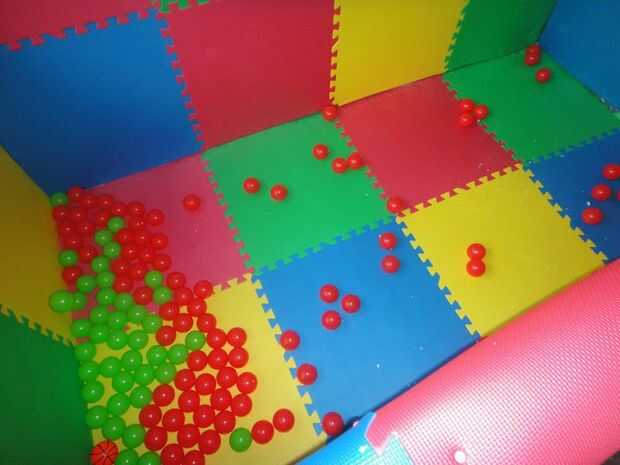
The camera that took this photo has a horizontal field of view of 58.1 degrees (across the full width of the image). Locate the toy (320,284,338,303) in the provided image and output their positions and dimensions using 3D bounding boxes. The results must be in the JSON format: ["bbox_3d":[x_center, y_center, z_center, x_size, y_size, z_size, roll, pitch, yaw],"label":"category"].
[{"bbox_3d":[0.124,0.404,3.709,0.102,0.121,0.065,-10,-13,8],"label":"toy"}]

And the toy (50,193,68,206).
[{"bbox_3d":[-1.730,-0.226,3.828,0.091,0.101,0.098,-14,12,-6],"label":"toy"}]

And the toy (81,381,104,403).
[{"bbox_3d":[-1.358,0.980,3.472,0.124,0.127,0.065,-27,-15,-3],"label":"toy"}]

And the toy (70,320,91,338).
[{"bbox_3d":[-1.458,0.606,3.549,0.106,0.118,0.129,-15,-9,-34],"label":"toy"}]

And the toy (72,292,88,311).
[{"bbox_3d":[-1.510,0.443,3.623,0.071,0.101,0.124,-32,-16,20],"label":"toy"}]

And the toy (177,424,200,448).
[{"bbox_3d":[-0.745,1.237,3.400,0.136,0.137,0.099,-22,-16,-20],"label":"toy"}]

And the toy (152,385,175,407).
[{"bbox_3d":[-0.908,1.002,3.443,0.112,0.132,0.068,6,-32,-7],"label":"toy"}]

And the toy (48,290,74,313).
[{"bbox_3d":[-1.576,0.432,3.529,0.150,0.125,0.096,-20,-16,-28],"label":"toy"}]

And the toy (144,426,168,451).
[{"bbox_3d":[-0.932,1.234,3.392,0.114,0.158,0.121,10,-7,-16],"label":"toy"}]

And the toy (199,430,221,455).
[{"bbox_3d":[-0.613,1.241,3.389,0.118,0.159,0.124,-1,4,-19],"label":"toy"}]

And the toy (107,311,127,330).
[{"bbox_3d":[-1.240,0.560,3.585,0.099,0.111,0.128,-11,-41,-11],"label":"toy"}]

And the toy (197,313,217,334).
[{"bbox_3d":[-0.674,0.583,3.576,0.102,0.122,0.061,-1,-8,1],"label":"toy"}]

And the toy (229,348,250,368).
[{"bbox_3d":[-0.455,0.788,3.559,0.127,0.127,0.084,-13,-20,-43],"label":"toy"}]

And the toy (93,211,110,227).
[{"bbox_3d":[-1.421,-0.097,3.790,0.089,0.103,0.090,-2,9,33],"label":"toy"}]

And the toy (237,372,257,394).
[{"bbox_3d":[-0.401,0.943,3.514,0.125,0.130,0.086,-25,-15,-11],"label":"toy"}]

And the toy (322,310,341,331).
[{"bbox_3d":[0.137,0.569,3.701,0.111,0.117,0.109,-36,-6,2],"label":"toy"}]

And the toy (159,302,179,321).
[{"bbox_3d":[-0.909,0.491,3.612,0.099,0.118,0.125,1,1,-18],"label":"toy"}]

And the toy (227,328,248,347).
[{"bbox_3d":[-0.473,0.669,3.573,0.104,0.125,0.109,8,-7,-34],"label":"toy"}]

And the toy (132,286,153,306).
[{"bbox_3d":[-1.106,0.412,3.674,0.097,0.112,0.096,-37,-18,32],"label":"toy"}]

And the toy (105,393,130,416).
[{"bbox_3d":[-1.190,1.058,3.447,0.137,0.121,0.076,-31,-16,10],"label":"toy"}]

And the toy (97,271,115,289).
[{"bbox_3d":[-1.353,0.309,3.727,0.091,0.125,0.100,7,4,23],"label":"toy"}]

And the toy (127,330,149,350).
[{"bbox_3d":[-1.099,0.643,3.542,0.106,0.122,0.133,1,17,-20],"label":"toy"}]

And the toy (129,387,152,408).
[{"bbox_3d":[-1.060,0.994,3.484,0.117,0.160,0.120,-4,2,-28],"label":"toy"}]

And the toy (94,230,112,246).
[{"bbox_3d":[-1.398,0.033,3.753,0.090,0.108,0.075,1,-10,-12],"label":"toy"}]

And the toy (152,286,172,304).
[{"bbox_3d":[-0.966,0.418,3.672,0.125,0.100,0.104,-59,3,-11],"label":"toy"}]

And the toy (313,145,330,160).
[{"bbox_3d":[0.081,-0.605,4.146,0.130,0.084,0.100,-28,-15,-6],"label":"toy"}]

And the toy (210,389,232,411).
[{"bbox_3d":[-0.554,1.027,3.445,0.124,0.128,0.059,-23,-15,-16],"label":"toy"}]

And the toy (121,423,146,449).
[{"bbox_3d":[-1.073,1.229,3.381,0.107,0.151,0.115,13,-6,-7],"label":"toy"}]

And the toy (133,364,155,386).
[{"bbox_3d":[-1.027,0.901,3.518,0.109,0.149,0.113,-22,-30,33],"label":"toy"}]

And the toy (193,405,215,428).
[{"bbox_3d":[-0.649,1.118,3.393,0.110,0.151,0.117,-1,7,-16],"label":"toy"}]

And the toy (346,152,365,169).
[{"bbox_3d":[0.331,-0.528,4.117,0.141,0.095,0.096,-29,-15,-3],"label":"toy"}]

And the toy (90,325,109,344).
[{"bbox_3d":[-1.343,0.644,3.556,0.104,0.115,0.133,-3,-44,-25],"label":"toy"}]

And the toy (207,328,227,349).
[{"bbox_3d":[-0.601,0.673,3.548,0.104,0.118,0.112,3,-35,-11],"label":"toy"}]

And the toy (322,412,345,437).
[{"bbox_3d":[0.136,1.177,3.444,0.119,0.163,0.127,2,3,16],"label":"toy"}]

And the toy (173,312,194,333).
[{"bbox_3d":[-0.825,0.579,3.618,0.131,0.120,0.080,-22,-16,-23],"label":"toy"}]

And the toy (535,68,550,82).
[{"bbox_3d":[1.860,-1.254,4.459,0.102,0.111,0.103,-30,-6,22],"label":"toy"}]

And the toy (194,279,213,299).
[{"bbox_3d":[-0.707,0.372,3.670,0.101,0.121,0.109,5,-6,7],"label":"toy"}]

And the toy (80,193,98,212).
[{"bbox_3d":[-1.533,-0.218,3.858,0.107,0.112,0.086,-18,-17,-31],"label":"toy"}]

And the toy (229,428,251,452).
[{"bbox_3d":[-0.427,1.254,3.466,0.118,0.162,0.131,11,29,3],"label":"toy"}]

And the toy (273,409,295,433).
[{"bbox_3d":[-0.169,1.156,3.440,0.116,0.140,0.069,-5,-12,6],"label":"toy"}]

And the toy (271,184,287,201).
[{"bbox_3d":[-0.225,-0.290,4.004,0.130,0.076,0.082,-28,-15,-8],"label":"toy"}]

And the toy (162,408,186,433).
[{"bbox_3d":[-0.834,1.142,3.399,0.108,0.137,0.069,-6,-15,-14],"label":"toy"}]

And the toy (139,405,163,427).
[{"bbox_3d":[-0.981,1.116,3.403,0.106,0.149,0.114,8,11,28],"label":"toy"}]

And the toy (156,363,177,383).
[{"bbox_3d":[-0.901,0.878,3.485,0.101,0.114,0.129,11,-49,-14],"label":"toy"}]

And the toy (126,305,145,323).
[{"bbox_3d":[-1.125,0.524,3.603,0.100,0.108,0.105,21,-15,10],"label":"toy"}]

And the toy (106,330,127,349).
[{"bbox_3d":[-1.240,0.669,3.580,0.104,0.125,0.131,2,-6,-9],"label":"toy"}]
